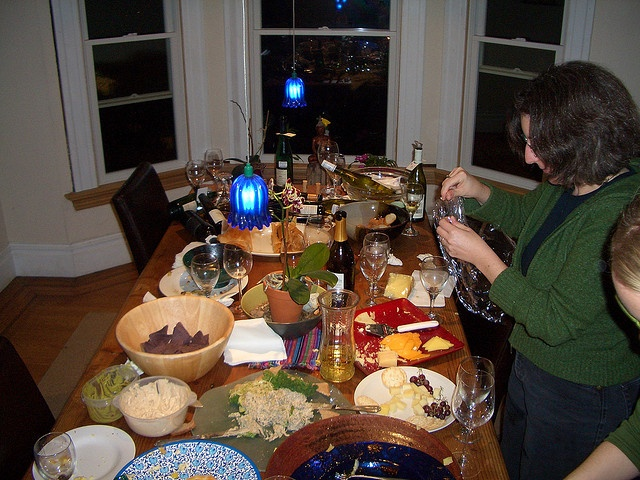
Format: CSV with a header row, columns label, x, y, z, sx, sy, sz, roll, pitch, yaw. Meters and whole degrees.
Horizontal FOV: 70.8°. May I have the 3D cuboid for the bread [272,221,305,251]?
label,x,y,z,sx,sy,sz,roll,pitch,yaw
bread,-0.142,-0.021,1.939,0.110,0.047,0.139,2,41,-8

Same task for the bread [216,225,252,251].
label,x,y,z,sx,sy,sz,roll,pitch,yaw
bread,-0.347,-0.006,1.832,0.078,0.084,0.051,11,28,14

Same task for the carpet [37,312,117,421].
label,x,y,z,sx,sy,sz,roll,pitch,yaw
carpet,-1.187,0.598,2.158,0.131,0.032,0.792,18,36,-11

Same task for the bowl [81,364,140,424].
label,x,y,z,sx,sy,sz,roll,pitch,yaw
bowl,-0.587,0.409,1.268,0.107,0.068,0.155,6,25,7

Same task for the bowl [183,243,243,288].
label,x,y,z,sx,sy,sz,roll,pitch,yaw
bowl,-0.436,0.075,1.809,0.181,0.097,0.184,3,45,-3

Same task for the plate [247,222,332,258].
label,x,y,z,sx,sy,sz,roll,pitch,yaw
plate,-0.163,0.000,1.942,0.205,0.048,0.211,5,27,7

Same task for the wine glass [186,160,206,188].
label,x,y,z,sx,sy,sz,roll,pitch,yaw
wine glass,-0.722,-0.379,2.643,0.105,0.180,0.309,-7,24,-13

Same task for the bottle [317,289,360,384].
label,x,y,z,sx,sy,sz,roll,pitch,yaw
bottle,0.053,0.269,1.372,0.116,0.253,0.199,-2,23,0

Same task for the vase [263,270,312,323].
label,x,y,z,sx,sy,sz,roll,pitch,yaw
vase,-0.110,0.198,1.500,0.139,0.120,0.146,6,25,2

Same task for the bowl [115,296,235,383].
label,x,y,z,sx,sy,sz,roll,pitch,yaw
bowl,-0.441,0.308,1.385,0.273,0.125,0.284,1,32,0

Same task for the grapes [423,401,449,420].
label,x,y,z,sx,sy,sz,roll,pitch,yaw
grapes,0.320,0.462,1.223,0.046,0.022,0.046,-7,7,-31

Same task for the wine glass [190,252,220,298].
label,x,y,z,sx,sy,sz,roll,pitch,yaw
wine glass,-0.415,0.132,1.631,0.092,0.157,0.098,-19,29,-32
